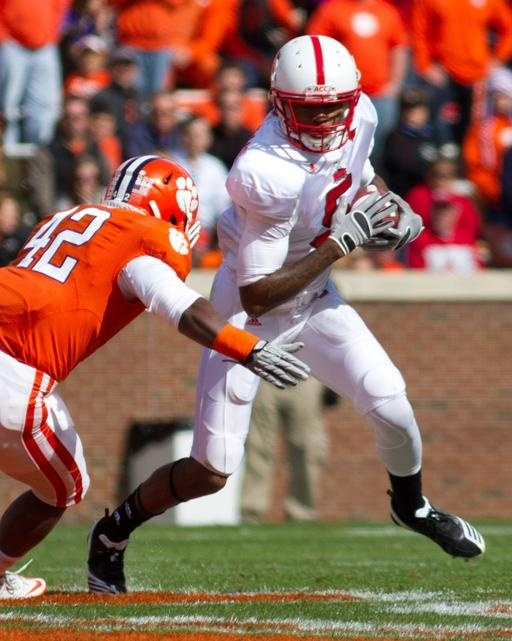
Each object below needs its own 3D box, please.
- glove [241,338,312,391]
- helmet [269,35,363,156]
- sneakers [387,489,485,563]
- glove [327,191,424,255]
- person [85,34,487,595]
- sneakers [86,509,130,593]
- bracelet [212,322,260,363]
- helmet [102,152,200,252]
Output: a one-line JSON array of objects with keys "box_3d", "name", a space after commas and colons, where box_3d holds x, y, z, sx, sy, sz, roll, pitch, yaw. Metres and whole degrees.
[{"box_3d": [0.053, 0.104, 2.046, 0.162, 0.051, 0.100, 20, 50, -8], "name": "glove"}, {"box_3d": [0.172, -0.661, 2.561, 0.260, 0.278, 0.322, 2, 35, 3], "name": "helmet"}, {"box_3d": [0.599, 0.658, 2.791, 0.432, 0.121, 0.160, 22, -7, 10], "name": "sneakers"}, {"box_3d": [0.344, -0.312, 2.739, 0.266, 0.242, 0.252, -15, 23, -36], "name": "glove"}, {"box_3d": [-0.033, 0.040, 2.917, 1.162, 1.782, 1.011, -7, 18, -27], "name": "person"}, {"box_3d": [-0.463, 0.728, 2.725, 0.179, 0.158, 0.378, 0, 19, -8], "name": "sneakers"}, {"box_3d": [-0.048, 0.055, 1.995, 0.111, 0.074, 0.038, 24, 8, 16], "name": "bracelet"}, {"box_3d": [-0.261, -0.333, 2.520, 0.242, 0.278, 0.253, 9, 20, 42], "name": "helmet"}]
